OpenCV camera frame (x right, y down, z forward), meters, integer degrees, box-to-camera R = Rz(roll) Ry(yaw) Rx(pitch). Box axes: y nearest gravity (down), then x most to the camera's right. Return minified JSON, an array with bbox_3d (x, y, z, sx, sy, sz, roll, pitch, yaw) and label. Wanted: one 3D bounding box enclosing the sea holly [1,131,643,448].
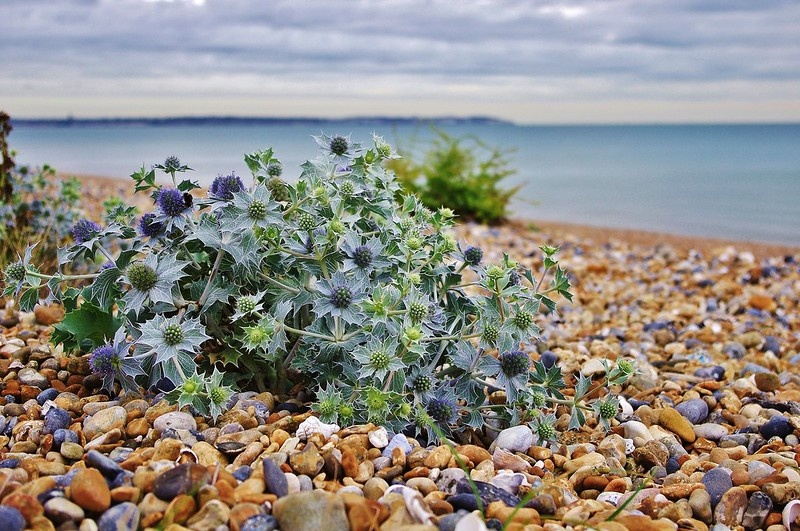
[{"bbox_3d":[-0.538,0.140,4.103,3.162,1.833,1.021,3,13,3],"label":"sea holly"}]
